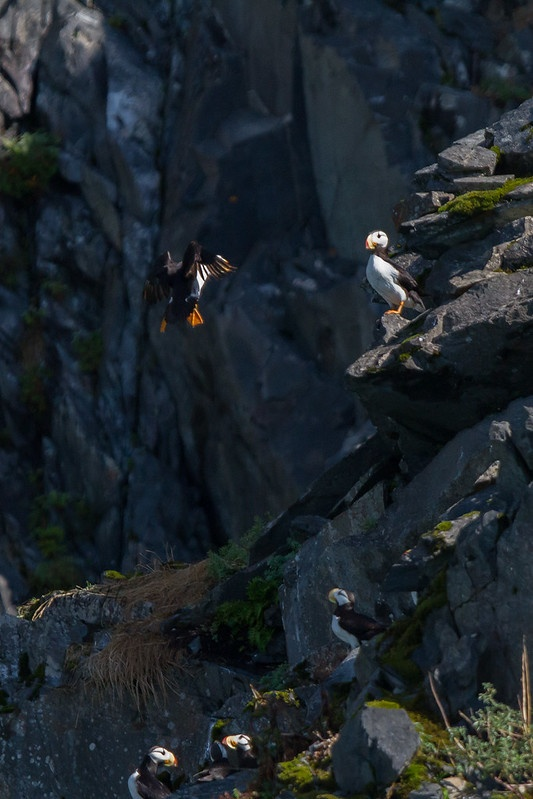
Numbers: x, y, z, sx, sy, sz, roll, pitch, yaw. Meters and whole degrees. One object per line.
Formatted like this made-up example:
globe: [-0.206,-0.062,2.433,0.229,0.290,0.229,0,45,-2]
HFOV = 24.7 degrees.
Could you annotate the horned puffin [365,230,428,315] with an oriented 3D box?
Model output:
horned puffin: [1.038,-1.039,10.022,0.342,0.715,0.386,-12,9,26]

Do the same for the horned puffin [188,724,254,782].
horned puffin: [-0.309,2.492,8.514,0.447,0.210,0.520,-15,7,-5]

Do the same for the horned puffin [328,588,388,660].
horned puffin: [0.670,1.524,8.490,0.481,0.411,0.230,-2,3,27]
